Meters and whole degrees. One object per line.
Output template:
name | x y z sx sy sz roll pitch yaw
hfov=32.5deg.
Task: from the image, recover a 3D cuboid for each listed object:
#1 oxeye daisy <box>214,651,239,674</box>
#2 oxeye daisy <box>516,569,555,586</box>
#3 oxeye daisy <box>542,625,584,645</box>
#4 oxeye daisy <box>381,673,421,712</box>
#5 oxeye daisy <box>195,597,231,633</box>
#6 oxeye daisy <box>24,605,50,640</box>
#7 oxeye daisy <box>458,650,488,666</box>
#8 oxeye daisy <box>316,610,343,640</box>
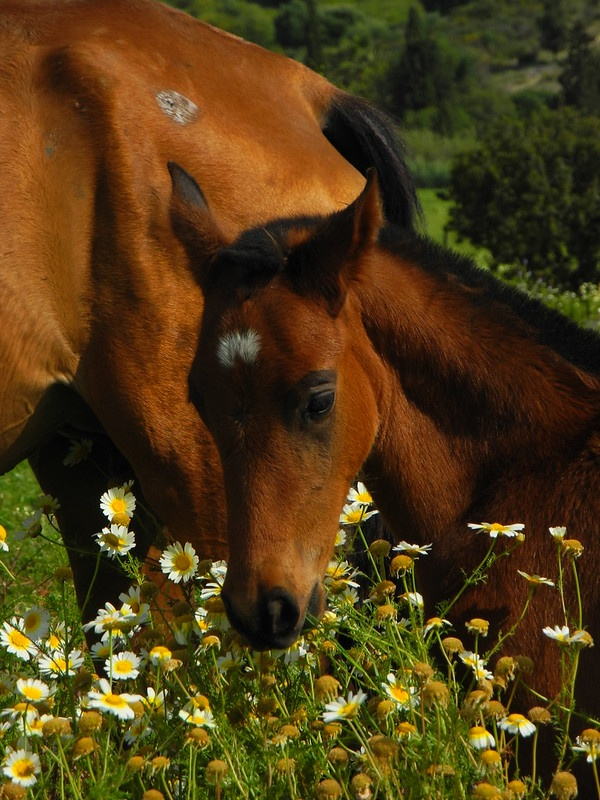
oxeye daisy | -0.178 0.658 2.560 0.056 0.058 0.067 11 32 -1
oxeye daisy | 0.627 0.473 2.724 0.094 0.027 0.088 11 1 -6
oxeye daisy | 0.628 0.561 2.440 0.082 0.031 0.077 2 1 -32
oxeye daisy | 0.236 0.678 2.360 0.086 0.033 0.089 -8 39 -12
oxeye daisy | -0.231 0.552 2.649 0.099 0.089 0.030 -15 17 -10
oxeye daisy | -0.674 0.575 2.638 0.085 0.076 0.032 -13 -10 -25
oxeye daisy | 0.402 0.608 2.407 0.057 0.021 0.056 3 11 -28
oxeye daisy | 0.076 0.584 2.668 0.071 0.026 0.068 -7 48 40
